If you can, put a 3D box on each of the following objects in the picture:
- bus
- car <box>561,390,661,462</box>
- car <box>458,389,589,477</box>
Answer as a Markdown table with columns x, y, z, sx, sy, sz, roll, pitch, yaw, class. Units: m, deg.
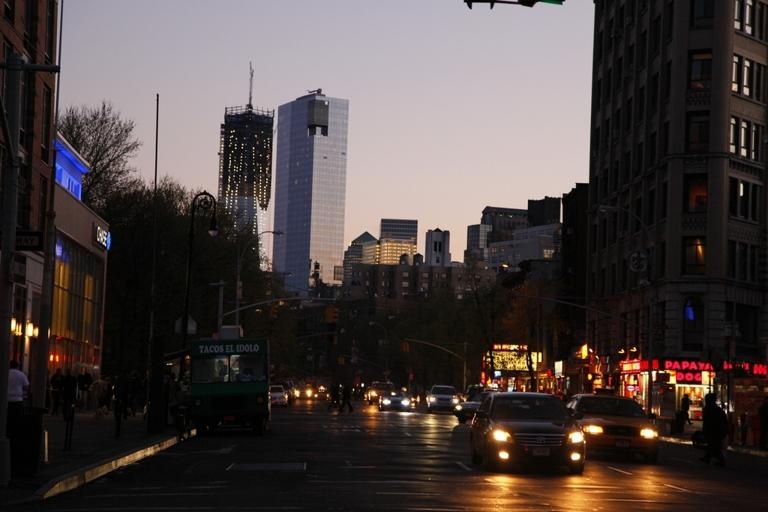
| x | y | z | sx | sy | sz | roll | pitch | yaw | class |
| --- | --- | --- | --- | --- | --- | --- | --- | --- | --- |
| -8.710 | 5.222 | 46.454 | 4.427 | 3.645 | 7.687 | 2 | -4 | -7 | bus |
| 7.819 | 5.997 | 38.332 | 1.864 | 1.550 | 4.530 | 1 | -13 | -1 | car |
| 4.303 | 5.234 | 32.508 | 2.628 | 1.999 | 5.719 | 0 | -6 | 4 | car |
